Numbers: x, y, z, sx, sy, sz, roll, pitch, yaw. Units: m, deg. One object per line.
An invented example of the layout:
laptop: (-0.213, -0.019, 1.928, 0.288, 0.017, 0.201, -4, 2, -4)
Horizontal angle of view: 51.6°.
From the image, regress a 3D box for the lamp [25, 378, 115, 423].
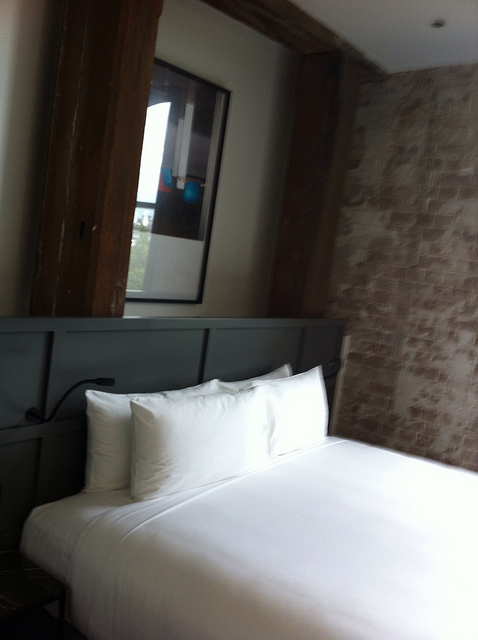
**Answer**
lamp: (-0.482, 0.238, 1.413, 0.229, 0.144, 0.061, 1, -2, 0)
